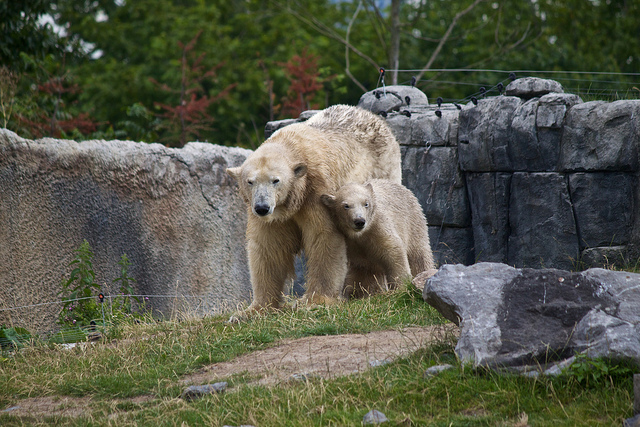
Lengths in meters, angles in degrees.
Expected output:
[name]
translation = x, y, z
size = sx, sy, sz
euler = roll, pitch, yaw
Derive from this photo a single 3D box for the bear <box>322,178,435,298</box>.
[bear]
translation = 0.914, 0.340, 21.681
size = 1.462, 2.206, 2.877
euler = -3, 1, 18
